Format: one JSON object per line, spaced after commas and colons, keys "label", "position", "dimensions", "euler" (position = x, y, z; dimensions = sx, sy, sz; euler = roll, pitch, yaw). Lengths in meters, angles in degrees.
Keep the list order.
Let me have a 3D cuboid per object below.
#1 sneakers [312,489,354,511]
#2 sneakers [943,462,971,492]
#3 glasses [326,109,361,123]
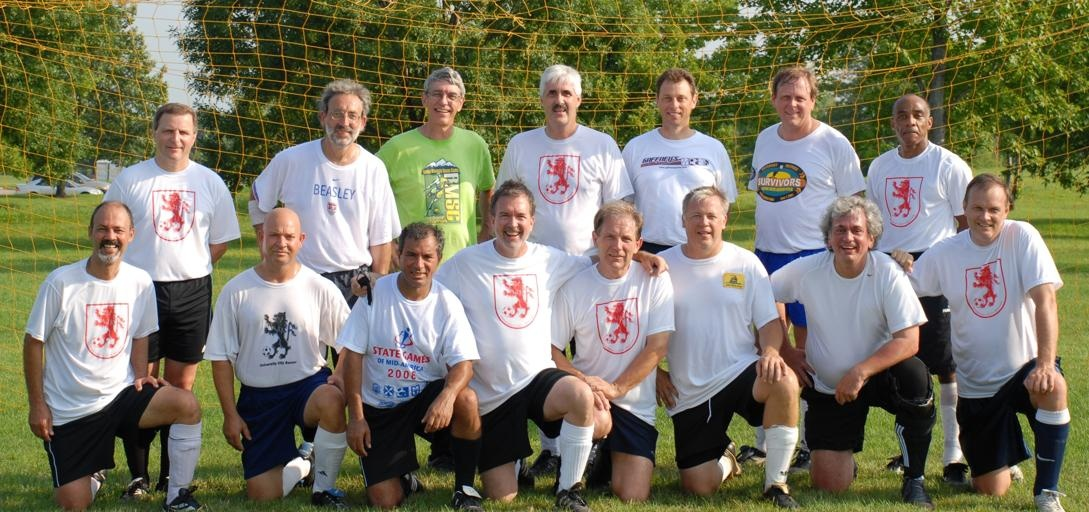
{"label": "sneakers", "position": [-3.197, 3.645, 16.730], "dimensions": [0.667, 0.198, 0.244], "euler": [-2, -1, 22]}
{"label": "sneakers", "position": [6.300, 3.395, 17.072], "dimensions": [0.296, 0.185, 0.513], "euler": [1, 12, 6]}
{"label": "glasses", "position": [-3.100, -2.171, 17.463], "dimensions": [0.571, 0.142, 0.126], "euler": [1, 0, -11]}
